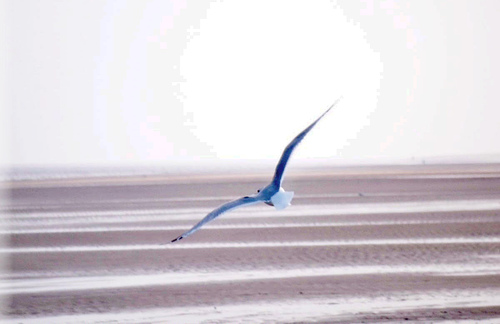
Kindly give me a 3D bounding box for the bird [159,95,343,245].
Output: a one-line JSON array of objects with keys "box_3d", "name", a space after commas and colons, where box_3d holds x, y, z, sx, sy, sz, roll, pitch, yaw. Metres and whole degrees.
[{"box_3d": [0.060, 0.289, 6.886, 1.803, 0.588, 0.345, -34, -94, 0], "name": "bird"}]
